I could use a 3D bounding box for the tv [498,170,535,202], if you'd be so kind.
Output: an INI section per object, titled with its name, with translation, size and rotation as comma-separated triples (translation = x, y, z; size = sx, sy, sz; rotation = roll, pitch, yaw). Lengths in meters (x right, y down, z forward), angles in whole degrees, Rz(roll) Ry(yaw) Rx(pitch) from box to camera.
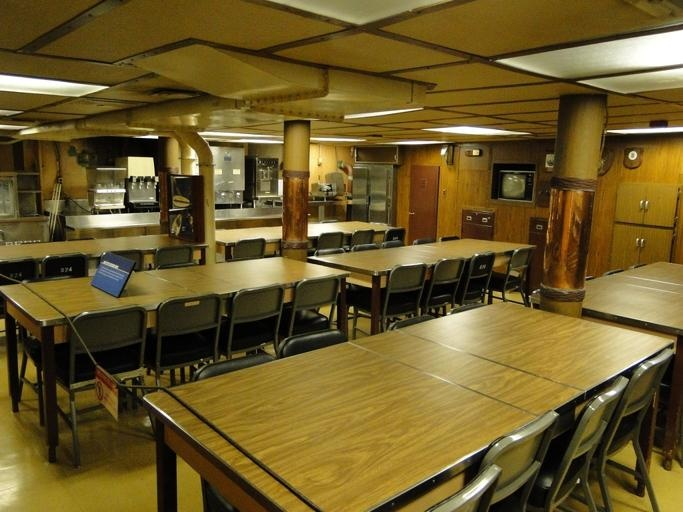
[tv]
translation = 3.041, -1.185, 8.656
size = 0.334, 0.471, 0.589
rotation = -4, 12, -32
